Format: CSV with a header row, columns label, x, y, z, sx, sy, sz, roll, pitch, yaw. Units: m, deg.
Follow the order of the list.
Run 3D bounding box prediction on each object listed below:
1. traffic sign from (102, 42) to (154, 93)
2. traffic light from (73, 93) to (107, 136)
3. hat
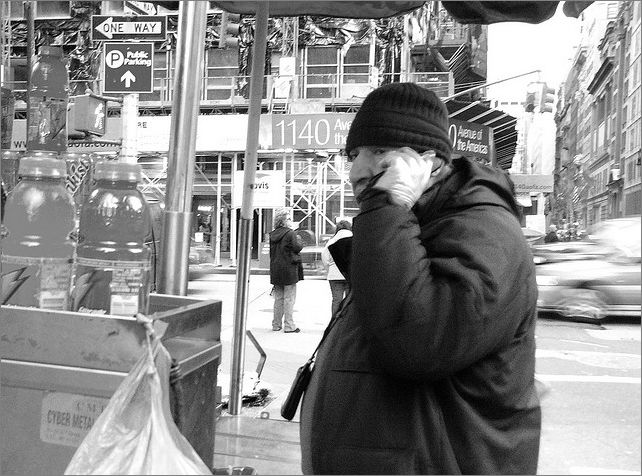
label,x,y,z,sx,sy,sz,roll,pitch,yaw
traffic sign,-2.400,-2.114,8.392,0.704,0.683,0.070,0,5,0
traffic light,-2.485,-1.324,7.282,0.256,0.459,0.531,4,3,9
hat,0.260,-0.351,2.215,0.268,0.192,0.262,4,-7,-41
